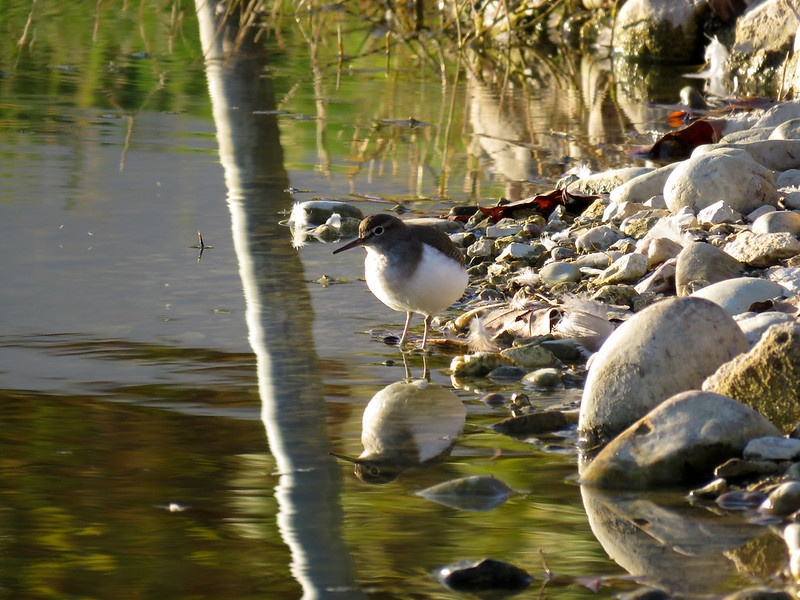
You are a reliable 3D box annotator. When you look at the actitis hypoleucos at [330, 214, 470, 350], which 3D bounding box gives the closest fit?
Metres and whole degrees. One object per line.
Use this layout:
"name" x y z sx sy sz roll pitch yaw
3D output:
"actitis hypoleucos" 0.056 -0.134 5.402 0.523 0.558 0.256 2 6 -2
